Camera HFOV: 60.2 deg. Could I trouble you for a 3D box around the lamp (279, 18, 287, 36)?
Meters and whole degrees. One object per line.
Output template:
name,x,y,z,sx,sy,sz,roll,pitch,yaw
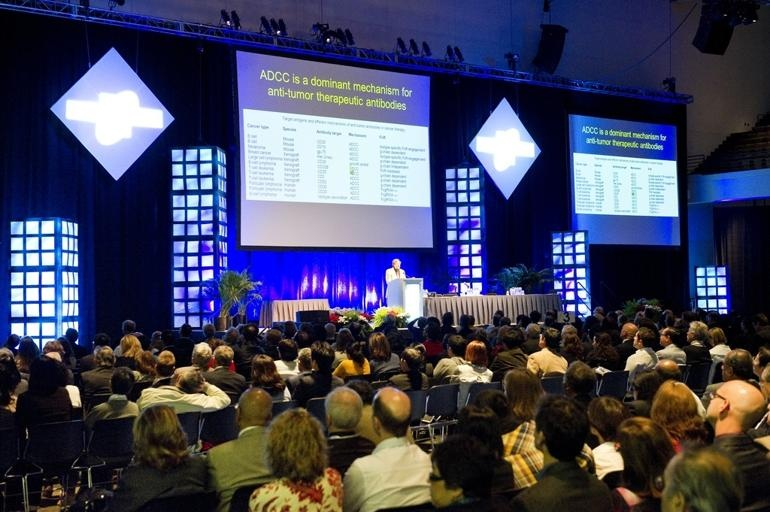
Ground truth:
lamp,-2.623,-5.964,17.171,0.133,0.425,0.620,-1,-7,-12

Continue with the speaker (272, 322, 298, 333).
speaker,-1.808,1.299,12.149,0.381,0.101,0.412,2,-4,-26

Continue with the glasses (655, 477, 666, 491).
glasses,2.168,1.800,5.257,0.055,0.113,0.025,-7,-8,37

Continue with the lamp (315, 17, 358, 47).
lamp,-1.345,-6.047,17.750,0.774,0.448,1.097,1,4,-10

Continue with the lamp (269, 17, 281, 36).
lamp,-2.826,-6.031,17.434,0.231,0.268,0.928,7,5,12

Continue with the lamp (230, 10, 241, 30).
lamp,-3.724,-5.965,16.690,0.195,0.643,0.508,-1,-7,-15

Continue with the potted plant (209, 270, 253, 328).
potted plant,-3.567,1.018,15.739,1.227,1.347,1.178,1,-3,8
